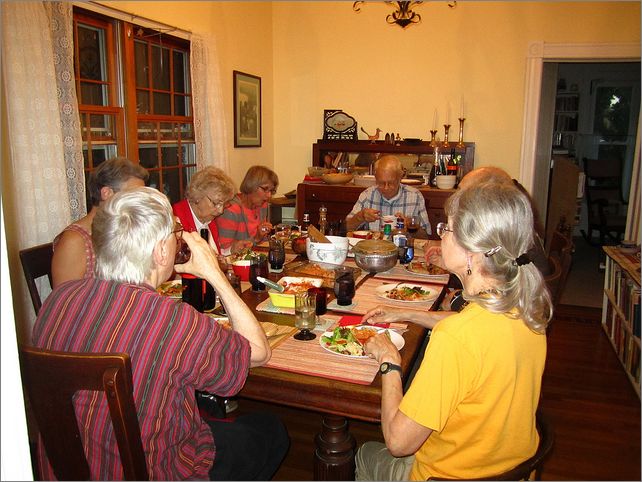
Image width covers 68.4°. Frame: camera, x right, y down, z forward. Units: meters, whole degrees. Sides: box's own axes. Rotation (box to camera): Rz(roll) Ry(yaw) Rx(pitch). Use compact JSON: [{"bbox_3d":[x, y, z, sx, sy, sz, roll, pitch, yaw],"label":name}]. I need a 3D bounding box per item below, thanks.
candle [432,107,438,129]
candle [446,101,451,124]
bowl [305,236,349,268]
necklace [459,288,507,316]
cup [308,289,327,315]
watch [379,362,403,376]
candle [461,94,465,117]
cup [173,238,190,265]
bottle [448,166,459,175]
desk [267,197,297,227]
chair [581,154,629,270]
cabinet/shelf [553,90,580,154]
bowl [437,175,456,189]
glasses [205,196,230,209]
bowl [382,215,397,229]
[{"bbox_3d":[1.423,-1.512,5.860,0.074,0.250,0.031,3,13,11],"label":"candle"},{"bbox_3d":[1.569,-1.569,5.809,0.066,0.248,0.041,4,13,14],"label":"candle"},{"bbox_3d":[0.035,0.069,2.748,0.256,0.206,0.247,5,14,-1],"label":"bowl"},{"bbox_3d":[0.487,0.188,1.417,0.082,0.049,0.114,-1,8,23],"label":"necklace"},{"bbox_3d":[-0.017,0.256,1.964,0.079,0.138,0.089,0,14,11],"label":"cup"},{"bbox_3d":[0.223,0.399,1.505,0.056,0.036,0.056,23,-17,-25],"label":"watch"},{"bbox_3d":[1.735,-1.647,5.759,0.059,0.260,0.035,3,13,11],"label":"candle"},{"bbox_3d":[-0.499,0.035,1.703,0.067,0.086,0.091,0,22,-4],"label":"cup"},{"bbox_3d":[1.476,-0.792,5.294,0.091,0.077,0.094,9,15,37],"label":"bottle"},{"bbox_3d":[-0.516,-0.389,6.122,0.477,0.495,0.346,0,11,3],"label":"desk"},{"bbox_3d":[4.160,-0.522,6.974,0.637,1.361,2.278,9,15,32],"label":"chair"},{"bbox_3d":[4.237,-2.016,8.140,0.392,1.030,0.165,8,15,28],"label":"cabinet/shelf"},{"bbox_3d":[1.376,-0.638,5.209,0.162,0.122,0.167,-2,6,0],"label":"bowl"},{"bbox_3d":[-0.669,-0.239,3.069,0.079,0.024,0.081,-1,45,-45],"label":"glasses"},{"bbox_3d":[0.504,-0.143,3.452,0.113,0.094,0.123,0,3,0],"label":"bowl"}]
